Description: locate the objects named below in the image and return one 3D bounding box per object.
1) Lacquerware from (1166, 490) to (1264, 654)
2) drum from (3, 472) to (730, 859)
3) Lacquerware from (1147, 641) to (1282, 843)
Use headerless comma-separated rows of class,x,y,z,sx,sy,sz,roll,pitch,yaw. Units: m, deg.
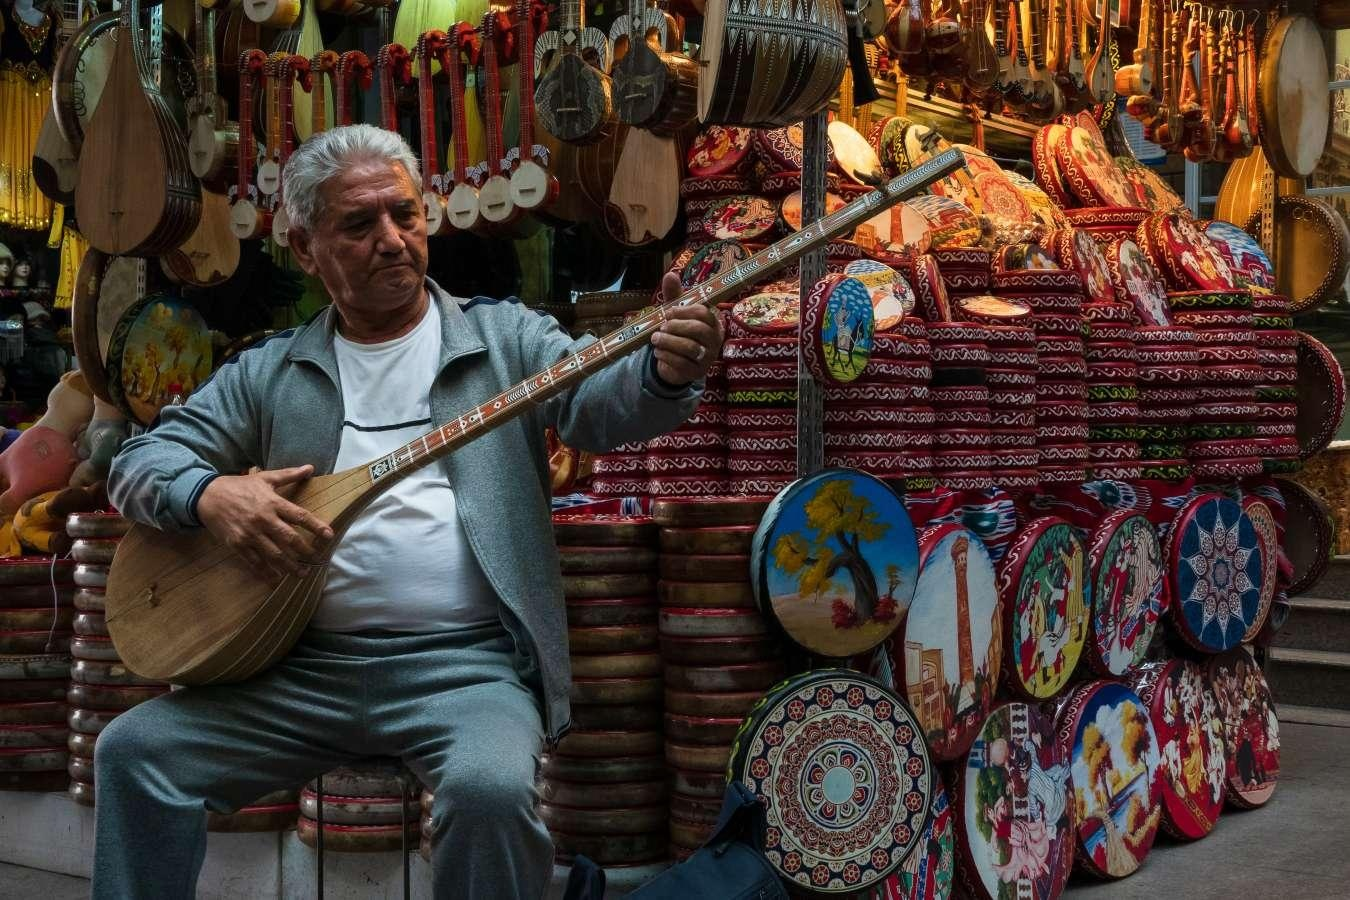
Lacquerware,2.183,0.488,6.144,0.615,0.635,0.103,-4,7,-41
drum,-0.930,0.713,5.107,1.633,0.757,1.480,-1,1,-27
Lacquerware,2.151,1.202,6.133,0.086,0.534,0.687,-10,-3,35
